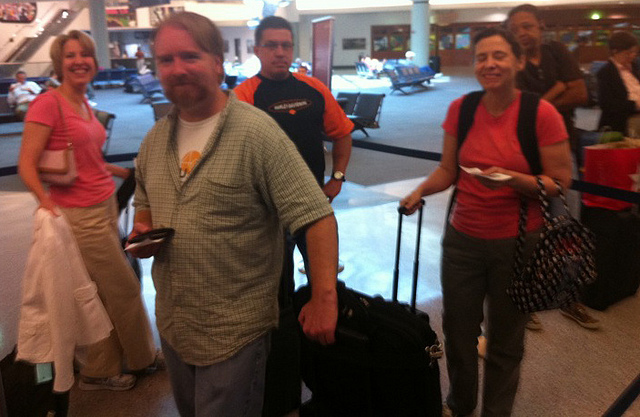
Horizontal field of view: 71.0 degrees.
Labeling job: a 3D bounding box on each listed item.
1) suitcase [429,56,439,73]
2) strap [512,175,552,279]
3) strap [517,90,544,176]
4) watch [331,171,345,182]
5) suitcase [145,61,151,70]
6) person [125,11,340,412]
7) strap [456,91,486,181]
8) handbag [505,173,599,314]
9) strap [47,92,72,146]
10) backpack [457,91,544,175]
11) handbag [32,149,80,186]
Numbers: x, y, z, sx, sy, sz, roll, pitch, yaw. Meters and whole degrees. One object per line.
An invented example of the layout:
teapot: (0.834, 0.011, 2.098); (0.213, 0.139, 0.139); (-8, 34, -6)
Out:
suitcase: (6.043, -7.629, 23.673); (0.454, 0.827, 0.590); (0, 17, 9)
strap: (1.022, 0.094, 2.149); (0.145, 0.497, 0.166); (4, 19, 22)
strap: (1.018, -0.364, 2.162); (0.133, 0.387, 0.123); (4, 19, 22)
watch: (0.124, -0.223, 3.088); (0.083, 0.050, 0.083); (-2, 11, -43)
suitcase: (-9.267, -7.843, 24.310); (0.219, 0.454, 2.653); (-8, 17, -18)
person: (-0.338, 0.062, 1.738); (0.780, 1.580, 0.543); (-3, 17, -2)
strap: (0.769, -0.438, 2.323); (0.111, 0.327, 0.138); (12, 23, 40)
handbag: (1.094, 0.172, 2.126); (0.370, 0.650, 0.239); (10, 22, 36)
strap: (-1.389, -0.487, 2.456); (0.043, 0.271, 0.065); (-2, 24, 33)
backpack: (0.937, -0.414, 2.325); (0.475, 0.393, 0.325); (11, 8, 36)
handbag: (-1.464, -0.255, 2.516); (0.302, 0.235, 0.114); (6, 17, 27)
